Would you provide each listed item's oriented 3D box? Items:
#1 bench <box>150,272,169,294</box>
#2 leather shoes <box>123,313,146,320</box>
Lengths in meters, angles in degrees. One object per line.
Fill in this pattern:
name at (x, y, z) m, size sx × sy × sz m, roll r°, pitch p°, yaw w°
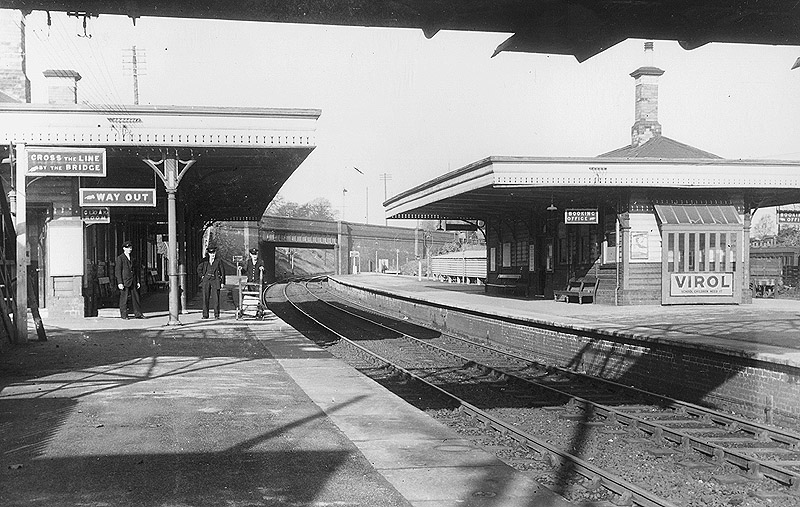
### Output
bench at (-12.582, 1.494, 45.971) m, size 0.476 × 0.780 × 1.385 m, roll 0°, pitch 2°, yaw -4°
leather shoes at (-7.955, 1.838, 26.403) m, size 0.677 × 0.280 × 0.228 m, roll -1°, pitch 1°, yaw -15°
